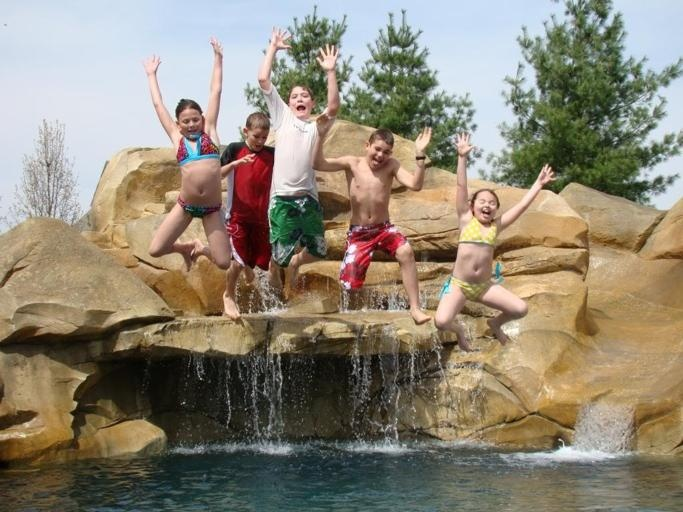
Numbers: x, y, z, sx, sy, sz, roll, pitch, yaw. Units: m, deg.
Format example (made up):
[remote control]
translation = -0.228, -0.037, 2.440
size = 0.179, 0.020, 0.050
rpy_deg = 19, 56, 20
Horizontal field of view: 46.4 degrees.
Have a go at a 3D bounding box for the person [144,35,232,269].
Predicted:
[person]
translation = -1.743, -1.202, 9.156
size = 0.913, 2.728, 1.097
rpy_deg = -1, 2, -9
